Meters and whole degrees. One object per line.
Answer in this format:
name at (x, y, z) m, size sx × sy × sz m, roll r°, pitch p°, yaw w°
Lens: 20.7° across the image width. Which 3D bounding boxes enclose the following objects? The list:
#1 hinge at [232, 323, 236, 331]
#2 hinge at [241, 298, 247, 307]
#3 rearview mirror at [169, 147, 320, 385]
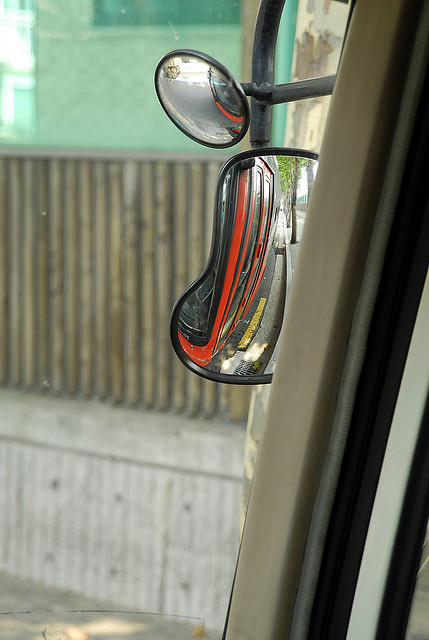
hinge at (0.030, 0.010, 1.796) m, size 0.003 × 0.018 × 0.003 m, roll 15°, pitch 11°, yaw 2°
hinge at (0.045, -0.026, 1.792) m, size 0.003 × 0.015 × 0.004 m, roll 13°, pitch 1°, yaw -5°
rearview mirror at (0.040, -0.087, 1.784) m, size 0.182 × 0.372 × 0.108 m, roll 14°, pitch 17°, yaw 20°
